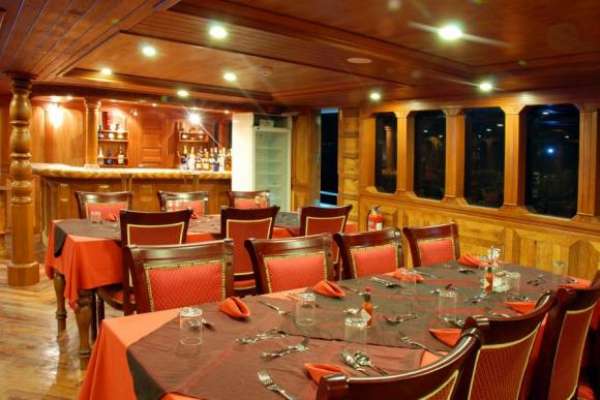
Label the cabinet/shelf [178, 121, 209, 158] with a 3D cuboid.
[{"bbox_3d":[-2.663,-1.512,10.498,0.800,0.773,0.234,2,4,-8],"label":"cabinet/shelf"}]

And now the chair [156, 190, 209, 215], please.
[{"bbox_3d":[-1.405,0.013,5.234,0.443,0.525,0.407,0,3,-31],"label":"chair"}]

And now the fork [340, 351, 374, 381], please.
[{"bbox_3d":[0.261,0.762,1.968,0.058,0.038,0.306,-11,8,-12],"label":"fork"}]

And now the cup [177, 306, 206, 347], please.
[{"bbox_3d":[-0.545,0.633,2.132,0.171,0.165,0.160,1,4,0],"label":"cup"}]

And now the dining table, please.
[{"bbox_3d":[-1.869,0.980,5.054,2.042,1.165,2.621,4,-3,-35],"label":"dining table"}]

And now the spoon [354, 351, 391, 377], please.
[{"bbox_3d":[0.318,0.752,1.987,0.061,0.035,0.272,1,0,-9],"label":"spoon"}]

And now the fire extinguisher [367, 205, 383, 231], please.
[{"bbox_3d":[1.187,0.323,6.676,0.231,0.466,0.201,9,29,24],"label":"fire extinguisher"}]
